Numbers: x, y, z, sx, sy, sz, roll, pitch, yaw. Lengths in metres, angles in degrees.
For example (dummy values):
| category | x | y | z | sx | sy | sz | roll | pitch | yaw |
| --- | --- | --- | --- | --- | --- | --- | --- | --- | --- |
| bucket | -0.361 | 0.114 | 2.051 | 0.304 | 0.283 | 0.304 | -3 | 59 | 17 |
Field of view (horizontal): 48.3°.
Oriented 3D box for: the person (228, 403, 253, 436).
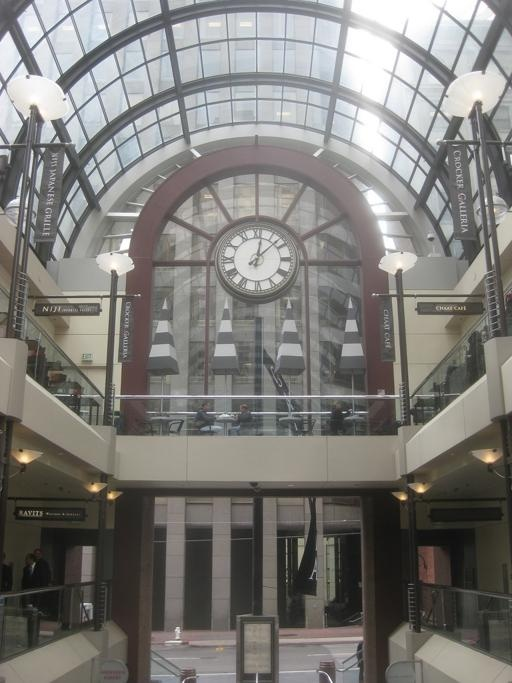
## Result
| category | x | y | z | sx | sy | sz | roll | pitch | yaw |
| --- | --- | --- | --- | --- | --- | --- | --- | --- | --- |
| person | -0.434 | 2.036 | 14.685 | 0.620 | 1.098 | 0.462 | -8 | -30 | 26 |

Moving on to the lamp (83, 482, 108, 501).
| category | x | y | z | sx | sy | sz | roll | pitch | yaw |
| --- | --- | --- | --- | --- | --- | --- | --- | --- | --- |
| lamp | -3.717 | 3.420 | 13.341 | 0.596 | 0.405 | 0.609 | -2 | -12 | -12 |

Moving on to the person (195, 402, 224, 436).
| category | x | y | z | sx | sy | sz | roll | pitch | yaw |
| --- | --- | --- | --- | --- | --- | --- | --- | --- | --- |
| person | -1.255 | 2.155 | 15.319 | 0.707 | 1.215 | 0.508 | -4 | -12 | -7 |
